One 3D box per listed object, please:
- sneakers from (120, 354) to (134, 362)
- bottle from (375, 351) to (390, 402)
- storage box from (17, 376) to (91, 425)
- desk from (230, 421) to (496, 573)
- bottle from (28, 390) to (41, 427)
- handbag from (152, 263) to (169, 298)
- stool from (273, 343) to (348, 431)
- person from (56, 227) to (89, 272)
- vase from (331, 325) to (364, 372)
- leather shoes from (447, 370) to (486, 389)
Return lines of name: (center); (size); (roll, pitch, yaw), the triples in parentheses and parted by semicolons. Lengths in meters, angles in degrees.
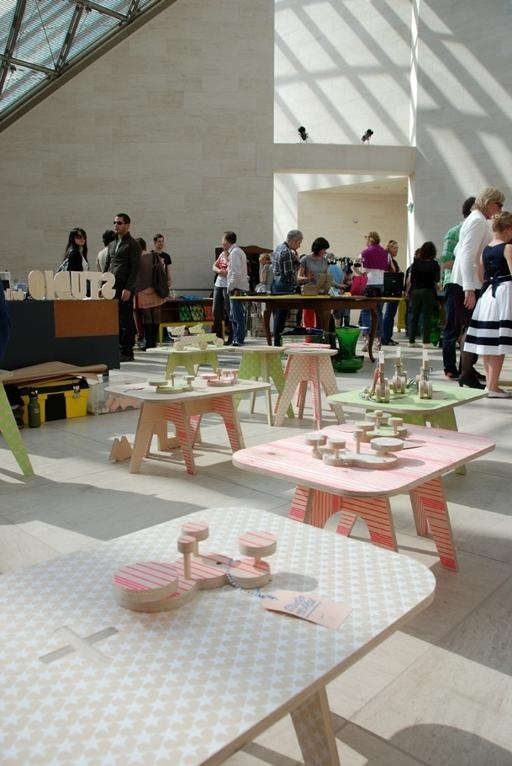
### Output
sneakers: (-1.714, -0.338, 7.286); (0.170, 0.076, 0.176); (0, 8, -17)
bottle: (0.597, -0.047, 2.608); (0.070, 0.218, 0.365); (4, 8, 13)
storage box: (-1.595, 0.076, 4.403); (0.324, 0.281, 0.434); (5, 8, 43)
desk: (0.372, 0.355, 1.709); (0.667, 0.395, 0.503); (-11, 16, -37)
bottle: (-1.686, 0.194, 4.164); (0.084, 0.260, 0.130); (-1, 8, -23)
handbag: (-1.420, -1.485, 7.984); (0.206, 0.549, 0.490); (-4, 8, 9)
stool: (0.367, 0.013, 4.208); (0.594, 0.712, 0.551); (-7, 14, -25)
person: (-2.222, -1.640, 6.679); (0.296, 0.602, 1.214); (-1, 8, -19)
vase: (1.035, -0.421, 6.599); (0.483, 0.703, 0.493); (0, 5, -3)
leather shoes: (1.911, -0.039, 5.066); (0.381, 0.157, 0.125); (-6, 10, -23)
